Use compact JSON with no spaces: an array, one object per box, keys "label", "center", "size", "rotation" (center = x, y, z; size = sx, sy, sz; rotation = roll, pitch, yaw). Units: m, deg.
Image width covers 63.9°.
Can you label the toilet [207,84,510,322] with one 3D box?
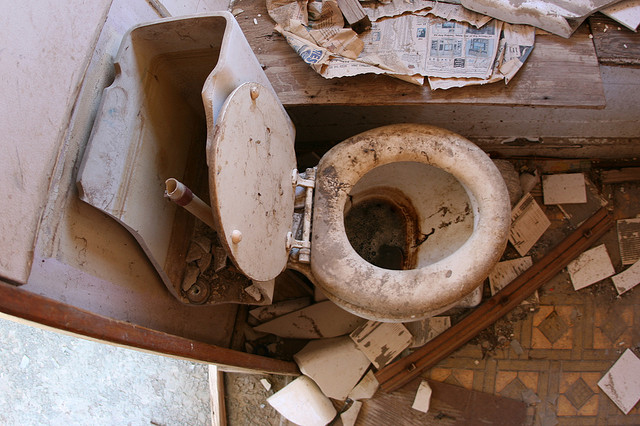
[{"label":"toilet","center":[0.161,0.001,2.117],"size":[1.165,1.275,0.767],"rotation":[7,76,6]}]

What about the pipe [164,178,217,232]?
[{"label":"pipe","center":[-0.405,0.006,1.847],"size":[0.065,0.374,0.061],"rotation":[-38,44,10]}]
